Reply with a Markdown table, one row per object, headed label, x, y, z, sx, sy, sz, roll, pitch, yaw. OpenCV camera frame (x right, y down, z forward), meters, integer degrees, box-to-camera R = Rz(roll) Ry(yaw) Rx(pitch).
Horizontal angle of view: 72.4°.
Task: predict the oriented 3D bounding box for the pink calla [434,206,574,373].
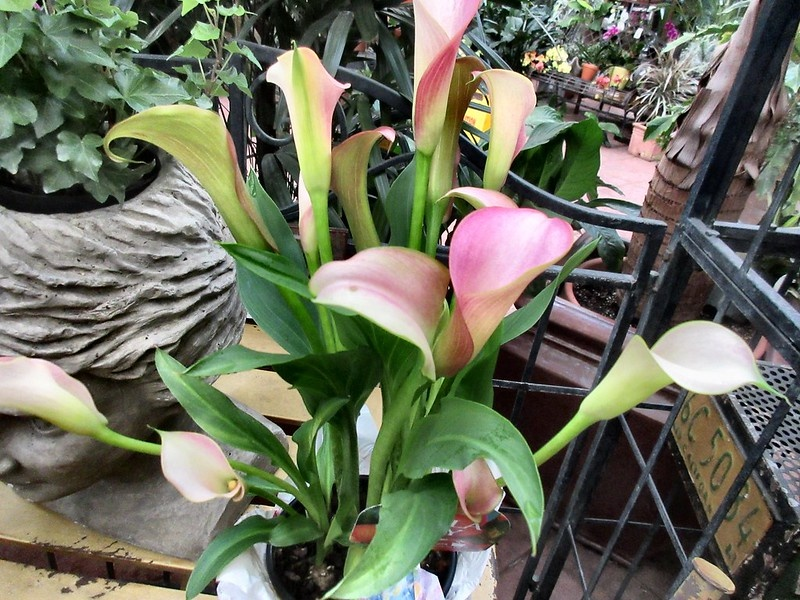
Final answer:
| label | x | y | z | sx | sy | sz | roll | pitch | yaw |
| --- | --- | --- | --- | --- | --- | --- | --- | --- | --- |
| pink calla | 0.082 | -0.014 | 0.468 | 0.087 | 0.135 | 0.101 | 4 | 21 | 3 |

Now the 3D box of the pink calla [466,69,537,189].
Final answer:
| label | x | y | z | sx | sy | sz | roll | pitch | yaw |
| --- | --- | --- | --- | --- | --- | --- | --- | --- | --- |
| pink calla | 0.100 | -0.176 | 0.553 | 0.052 | 0.122 | 0.059 | 5 | 25 | 6 |

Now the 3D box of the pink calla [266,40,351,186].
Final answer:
| label | x | y | z | sx | sy | sz | roll | pitch | yaw |
| --- | --- | --- | --- | --- | --- | --- | --- | --- | --- |
| pink calla | -0.083 | -0.178 | 0.522 | 0.059 | 0.124 | 0.070 | 1 | 25 | 0 |
